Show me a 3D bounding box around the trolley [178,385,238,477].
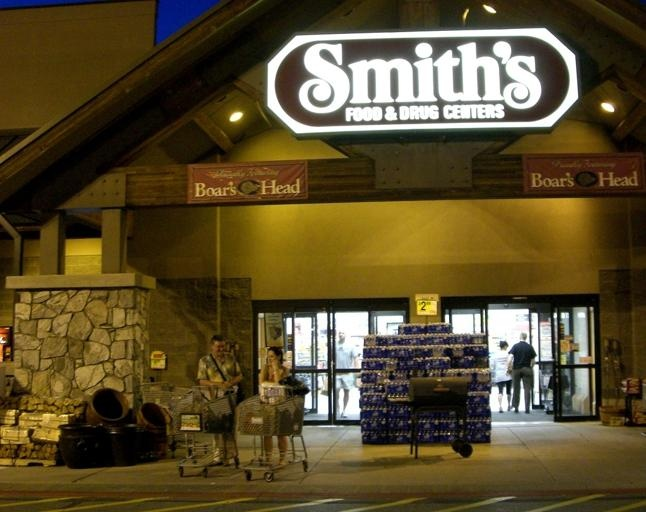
[{"bbox_3d":[-1.992,2.935,13.809,0.891,1.295,0.838,-6,-2,20],"label":"trolley"}]

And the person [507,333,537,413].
[{"bbox_3d":[4.746,2.788,19.770,0.589,1.889,0.948,-3,-10,11],"label":"person"}]

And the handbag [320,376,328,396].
[{"bbox_3d":[0.015,2.895,18.576,0.169,0.465,0.092,-1,-10,-1],"label":"handbag"}]

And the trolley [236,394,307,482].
[{"bbox_3d":[-0.624,2.965,13.479,1.100,1.390,1.524,-7,-20,22],"label":"trolley"}]

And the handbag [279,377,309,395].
[{"bbox_3d":[-0.489,2.176,13.770,0.359,0.185,0.355,18,5,39],"label":"handbag"}]

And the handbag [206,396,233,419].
[{"bbox_3d":[-1.674,2.457,13.385,0.351,0.311,0.118,-15,7,-10],"label":"handbag"}]

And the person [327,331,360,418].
[{"bbox_3d":[0.532,2.669,18.618,0.544,1.962,0.256,-1,-10,1],"label":"person"}]

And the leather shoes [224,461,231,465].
[{"bbox_3d":[-1.621,3.524,14.055,0.089,0.088,0.138,1,0,-6],"label":"leather shoes"}]
